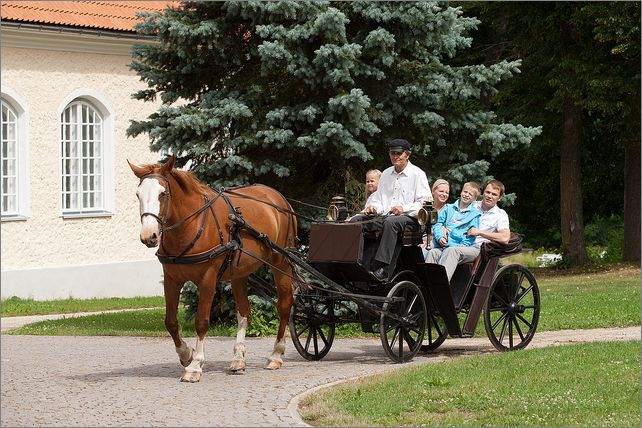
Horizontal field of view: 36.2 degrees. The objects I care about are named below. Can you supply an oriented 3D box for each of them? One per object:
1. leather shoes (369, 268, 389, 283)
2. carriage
[{"bbox_3d":[1.033,1.083,17.373,0.367,0.151,0.144,21,3,-31],"label":"leather shoes"},{"bbox_3d":[0.858,1.297,18.484,9.200,3.822,3.077,6,-9,-36],"label":"carriage"}]
